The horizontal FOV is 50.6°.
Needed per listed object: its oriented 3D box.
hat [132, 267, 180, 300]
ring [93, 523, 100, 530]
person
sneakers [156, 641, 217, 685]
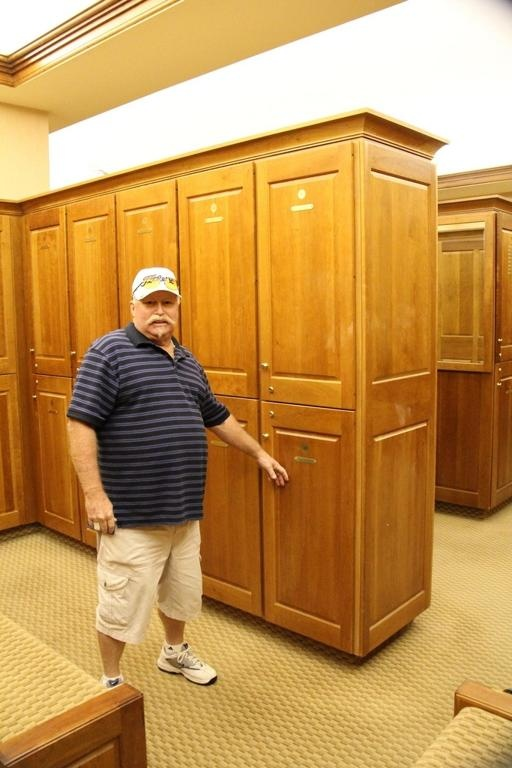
[{"bbox_3d":[-0.341,-0.312,1.839,0.145,0.115,0.244,3,0,-8],"label":"hat"},{"bbox_3d":[-0.491,0.438,1.671,0.007,0.028,0.026,-11,5,-35],"label":"ring"},{"bbox_3d":[-0.330,0.319,1.860,0.272,1.399,0.677,1,2,33],"label":"person"},{"bbox_3d":[-0.273,1.076,2.176,0.255,0.128,0.102,8,10,25],"label":"sneakers"}]
